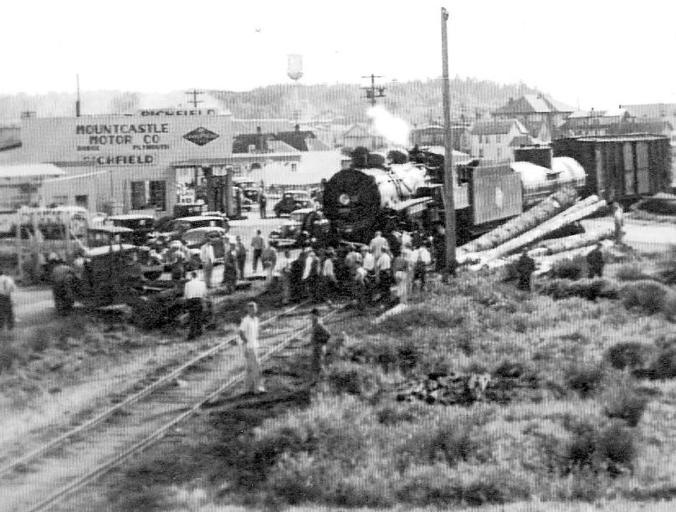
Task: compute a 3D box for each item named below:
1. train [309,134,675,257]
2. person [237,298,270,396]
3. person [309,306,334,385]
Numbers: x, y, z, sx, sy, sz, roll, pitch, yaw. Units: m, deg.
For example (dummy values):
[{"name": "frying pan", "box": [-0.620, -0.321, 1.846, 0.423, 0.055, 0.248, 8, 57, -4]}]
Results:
[{"name": "train", "box": [1.724, -0.770, 12.805, 4.649, 1.761, 0.833, -8, 11, -31]}, {"name": "person", "box": [-1.062, 1.049, 10.807, 0.265, 1.042, 0.473, -2, 5, -8]}, {"name": "person", "box": [-0.317, 1.061, 10.944, 0.225, 0.842, 0.381, -1, 5, -2]}]
